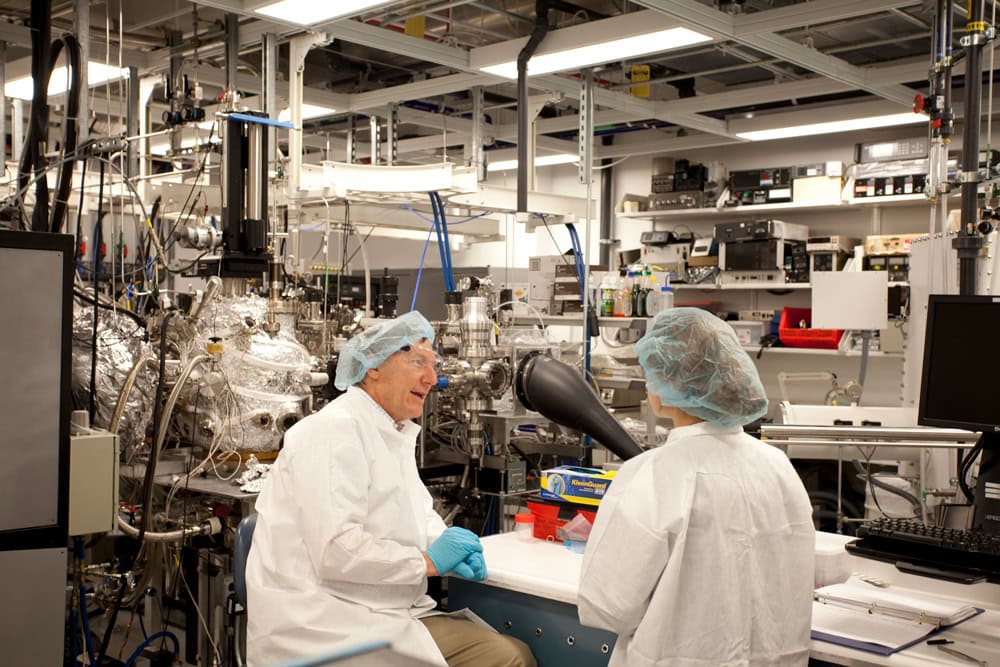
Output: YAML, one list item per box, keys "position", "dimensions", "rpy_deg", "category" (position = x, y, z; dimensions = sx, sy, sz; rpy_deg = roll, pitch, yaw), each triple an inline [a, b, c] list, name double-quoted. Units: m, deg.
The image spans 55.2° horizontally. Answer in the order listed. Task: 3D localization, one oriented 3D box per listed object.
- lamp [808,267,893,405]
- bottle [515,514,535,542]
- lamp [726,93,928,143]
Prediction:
- position: [2.119, -0.042, 5.823]
  dimensions: [0.427, 0.641, 1.121]
  rpy_deg: [3, 1, 20]
  category: "lamp"
- position: [0.091, 0.725, 3.568]
  dimensions: [0.072, 0.078, 0.074]
  rpy_deg: [3, 5, 28]
  category: "bottle"
- position: [2.349, -1.531, 6.889]
  dimensions: [1.215, 0.187, 0.431]
  rpy_deg: [3, 1, 36]
  category: "lamp"
